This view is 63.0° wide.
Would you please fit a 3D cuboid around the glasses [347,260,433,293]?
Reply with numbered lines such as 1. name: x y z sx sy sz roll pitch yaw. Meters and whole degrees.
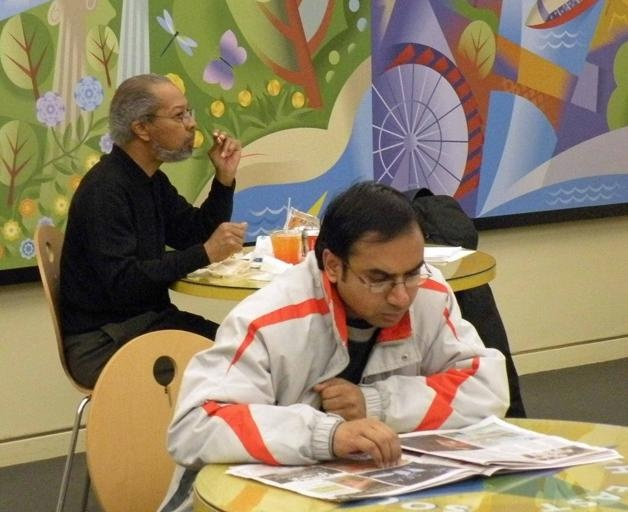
1. glasses: 0.175 0.039 0.987 0.096 0.049 0.234 -1 0 33

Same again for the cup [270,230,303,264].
1. cup: -0.096 -0.035 1.810 0.100 0.138 0.110 0 8 0
